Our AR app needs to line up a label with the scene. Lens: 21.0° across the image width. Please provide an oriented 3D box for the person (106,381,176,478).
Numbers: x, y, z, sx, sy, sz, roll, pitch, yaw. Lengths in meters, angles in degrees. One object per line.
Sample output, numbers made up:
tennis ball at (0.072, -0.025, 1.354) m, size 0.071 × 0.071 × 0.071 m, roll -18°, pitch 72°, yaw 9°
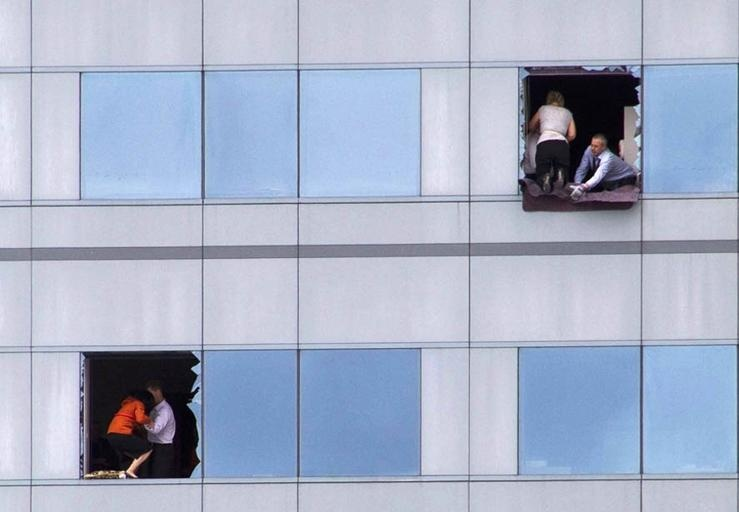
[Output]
person at (-4.460, 3.411, 39.333) m, size 1.212 × 1.861 × 0.276 m, roll 1°, pitch -6°, yaw -11°

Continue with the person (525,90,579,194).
person at (3.538, -2.227, 39.249) m, size 0.916 × 2.024 × 0.285 m, roll -1°, pitch -6°, yaw 4°

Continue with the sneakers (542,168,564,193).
sneakers at (3.562, -1.463, 39.079) m, size 0.261 × 0.278 × 0.679 m, roll 2°, pitch 17°, yaw 12°

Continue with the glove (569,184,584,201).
glove at (4.013, -1.218, 39.073) m, size 0.237 × 0.328 × 0.108 m, roll 18°, pitch -11°, yaw -11°
